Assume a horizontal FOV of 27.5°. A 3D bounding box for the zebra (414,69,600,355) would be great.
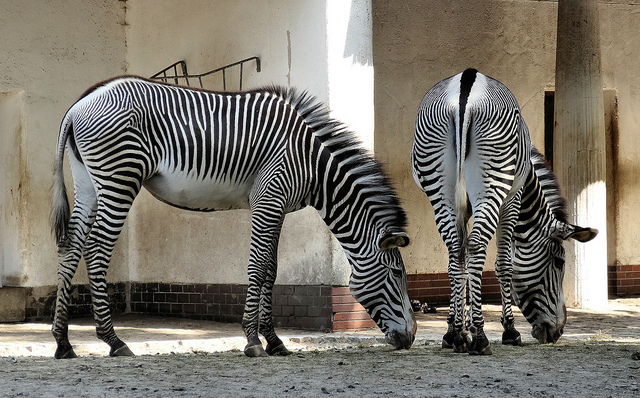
[{"bbox_3d":[2.150,0.122,15.887,1.617,3.441,0.894,0,-5,-33],"label":"zebra"}]
